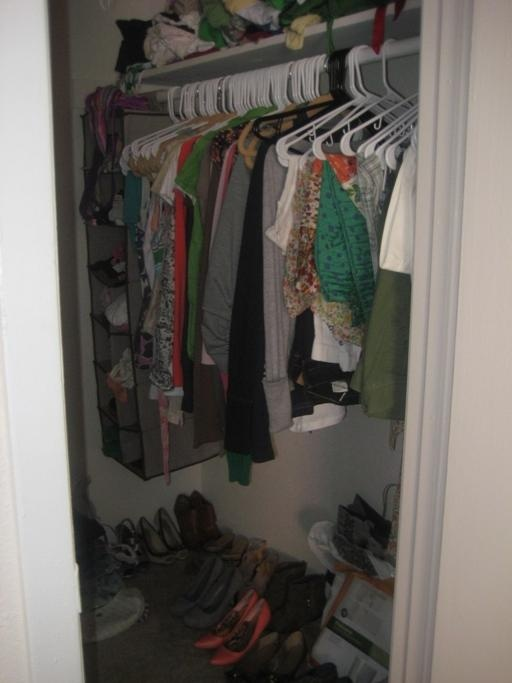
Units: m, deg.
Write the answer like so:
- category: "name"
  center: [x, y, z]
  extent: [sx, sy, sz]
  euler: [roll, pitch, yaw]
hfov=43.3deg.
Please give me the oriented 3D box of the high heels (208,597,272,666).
- category: "high heels"
  center: [-0.023, 0.870, 1.957]
  extent: [0.081, 0.089, 0.238]
  euler: [14, 45, 45]

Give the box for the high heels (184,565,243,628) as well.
- category: "high heels"
  center: [-0.120, 0.828, 2.124]
  extent: [0.084, 0.103, 0.248]
  euler: [-1, 11, 27]

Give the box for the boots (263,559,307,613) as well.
- category: "boots"
  center: [0.087, 0.782, 2.083]
  extent: [0.111, 0.112, 0.179]
  euler: [4, 17, 29]

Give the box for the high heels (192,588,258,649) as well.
- category: "high heels"
  center: [-0.079, 0.855, 2.001]
  extent: [0.255, 0.101, 0.084]
  euler: [-30, 7, -20]
